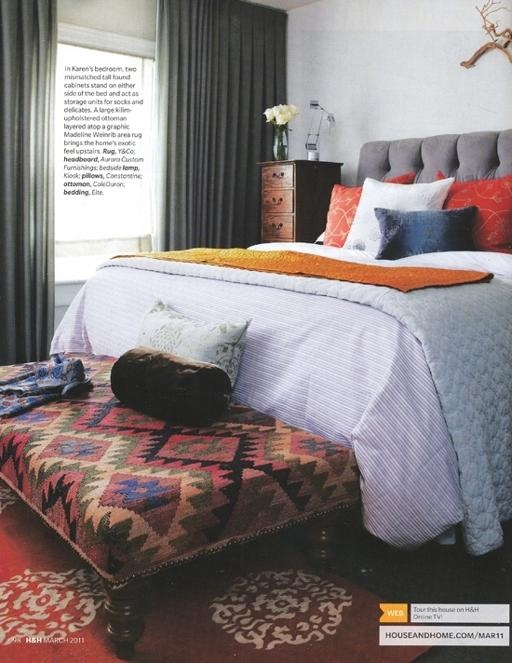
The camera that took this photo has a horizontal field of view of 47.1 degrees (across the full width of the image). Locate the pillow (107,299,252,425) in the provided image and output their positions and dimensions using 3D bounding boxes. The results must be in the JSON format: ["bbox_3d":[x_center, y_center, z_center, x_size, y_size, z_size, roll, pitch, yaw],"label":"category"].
[{"bbox_3d":[-0.206,0.085,1.479,0.314,0.123,0.287,1,30,18],"label":"pillow"}]
